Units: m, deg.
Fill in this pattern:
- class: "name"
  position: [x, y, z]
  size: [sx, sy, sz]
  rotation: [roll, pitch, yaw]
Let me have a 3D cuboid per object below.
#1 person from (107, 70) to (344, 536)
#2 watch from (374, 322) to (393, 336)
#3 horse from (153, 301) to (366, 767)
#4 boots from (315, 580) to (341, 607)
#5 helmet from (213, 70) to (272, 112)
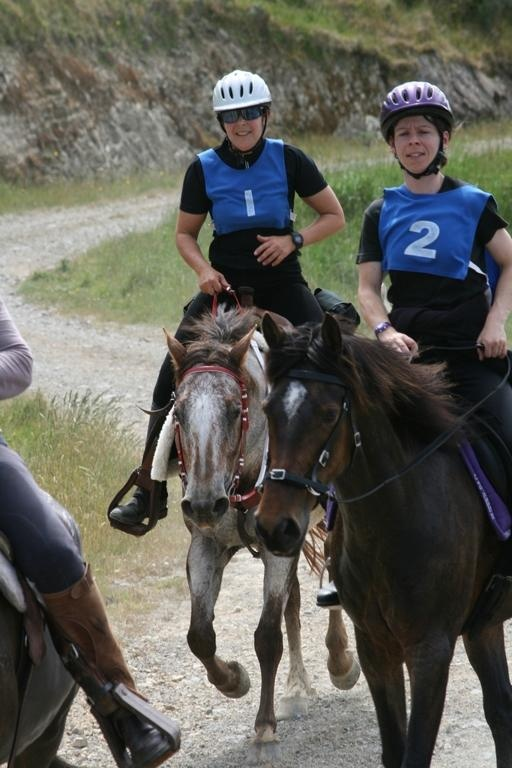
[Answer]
- class: "person"
  position: [-0.138, -0.462, 5.786]
  size: [1.329, 2.397, 1.151]
  rotation: [-1, 13, 5]
- class: "watch"
  position: [0.545, -0.239, 4.578]
  size: [0.060, 0.036, 0.068]
  rotation: [-20, 35, 42]
- class: "horse"
  position: [0.080, 0.828, 5.857]
  size: [0.741, 2.069, 2.669]
  rotation: [2, -3, 16]
- class: "boots"
  position: [0.359, 1.089, 5.412]
  size: [0.105, 0.193, 0.282]
  rotation: [5, 1, 3]
- class: "helmet"
  position: [-0.080, -1.563, 5.655]
  size: [0.290, 0.205, 0.299]
  rotation: [-3, 22, -2]
